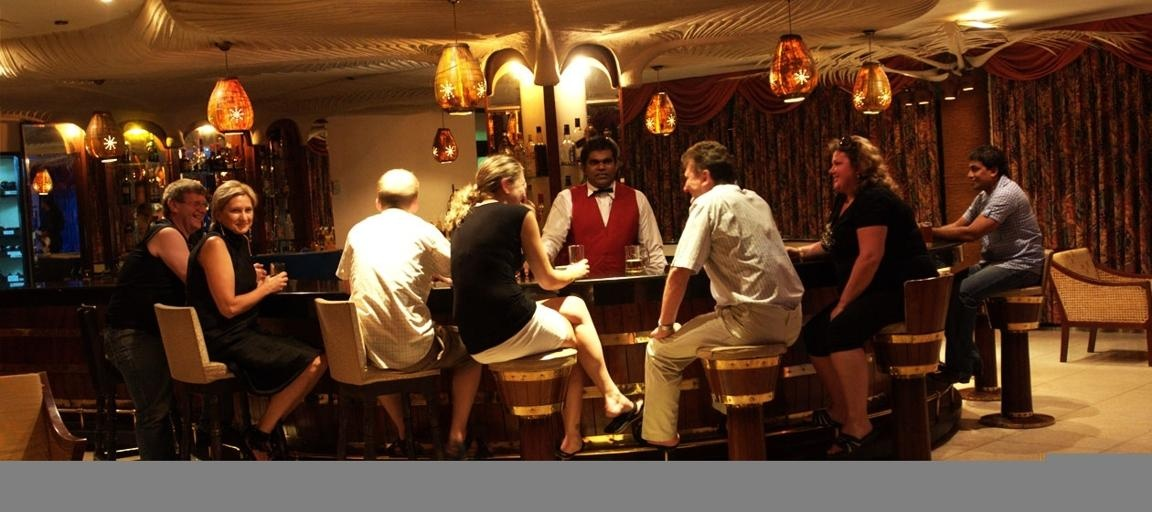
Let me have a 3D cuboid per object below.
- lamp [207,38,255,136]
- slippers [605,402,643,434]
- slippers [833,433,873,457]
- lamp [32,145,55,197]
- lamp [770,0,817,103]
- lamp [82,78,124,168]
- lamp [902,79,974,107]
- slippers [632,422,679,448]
[{"bbox_3d":[-5.135,-2.467,11.965,0.536,1.456,1.766,0,-1,-22],"label":"lamp"},{"bbox_3d":[0.528,1.799,9.010,0.549,0.174,0.187,-31,28,-12],"label":"slippers"},{"bbox_3d":[3.061,2.137,9.043,0.330,0.106,0.375,0,-1,-19],"label":"slippers"},{"bbox_3d":[-9.779,-1.411,14.763,0.343,0.616,0.109,-1,-2,0],"label":"lamp"},{"bbox_3d":[2.887,-2.572,10.801,0.560,0.833,0.335,-1,-2,10],"label":"lamp"},{"bbox_3d":[-8.136,-2.077,13.911,0.519,0.840,0.464,-1,-2,-1],"label":"lamp"},{"bbox_3d":[6.206,-2.845,14.000,0.906,0.221,0.533,-1,8,12],"label":"lamp"},{"bbox_3d":[0.819,2.034,9.038,0.255,0.195,0.652,0,-1,-33],"label":"slippers"}]
